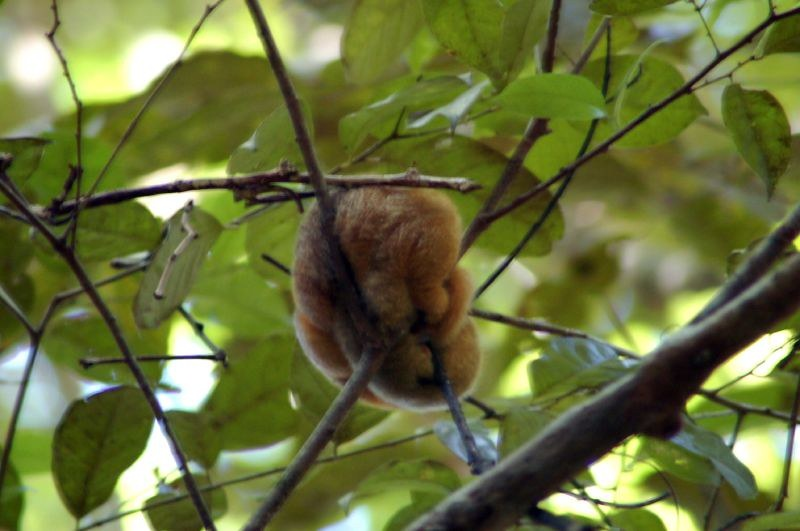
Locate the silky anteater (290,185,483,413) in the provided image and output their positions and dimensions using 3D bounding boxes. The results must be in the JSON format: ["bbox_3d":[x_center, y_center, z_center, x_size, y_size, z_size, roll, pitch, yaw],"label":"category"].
[{"bbox_3d":[0.000,0.033,1.564,0.238,0.193,0.343,-3,-80,30],"label":"silky anteater"}]
